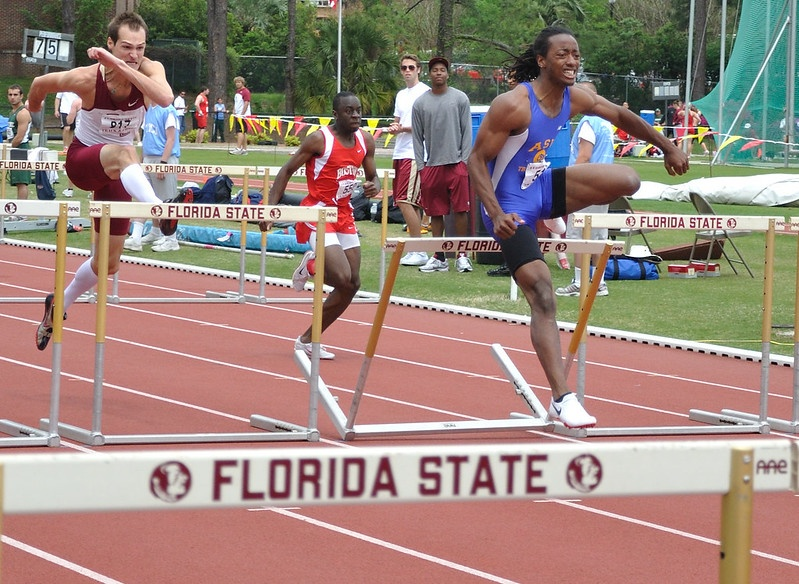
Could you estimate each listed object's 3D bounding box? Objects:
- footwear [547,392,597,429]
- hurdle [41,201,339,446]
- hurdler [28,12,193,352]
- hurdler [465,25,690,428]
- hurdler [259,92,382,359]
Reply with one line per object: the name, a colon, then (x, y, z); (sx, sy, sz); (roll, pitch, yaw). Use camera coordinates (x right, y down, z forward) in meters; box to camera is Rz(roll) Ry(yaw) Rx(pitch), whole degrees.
footwear: (0.875, 0.601, 4.949); (0.143, 0.122, 0.289); (-3, 4, -30)
hurdle: (-1.127, 0.121, 5.407); (1.739, 1.465, 1.251); (-1, 8, -22)
hurdler: (-1.672, -0.524, 6.134); (0.835, 2.318, 1.114); (-13, 26, -37)
hurdler: (0.860, -0.322, 5.078); (1.113, 2.141, 0.624); (-3, 5, -38)
hurdler: (-0.390, -0.331, 6.778); (0.809, 1.982, 0.861); (-7, 23, -29)
